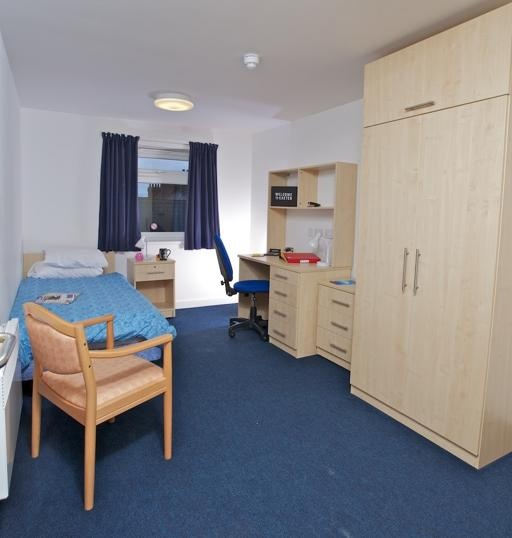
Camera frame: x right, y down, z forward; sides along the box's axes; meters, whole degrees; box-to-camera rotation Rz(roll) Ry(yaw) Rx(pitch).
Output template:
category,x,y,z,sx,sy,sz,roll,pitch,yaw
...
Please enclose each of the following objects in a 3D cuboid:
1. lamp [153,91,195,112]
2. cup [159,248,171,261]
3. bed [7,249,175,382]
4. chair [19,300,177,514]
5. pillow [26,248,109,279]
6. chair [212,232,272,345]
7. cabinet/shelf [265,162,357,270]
category,x,y,z,sx,sy,sz,roll,pitch,yaw
lamp,-0.779,-1.540,4.034,0.373,0.111,0.757,0,10,-10
cup,-1.088,-0.168,5.141,0.149,0.177,0.099,2,2,-32
bed,-1.344,0.278,3.512,0.789,0.343,1.275,-3,9,-35
chair,-0.813,0.577,2.256,0.641,0.970,0.672,-6,18,-35
pillow,-1.957,-0.054,4.532,0.476,0.176,0.428,-5,12,-28
chair,-0.135,0.182,4.852,0.793,1.432,0.768,-1,3,-1
cabinet/shelf,0.578,-0.525,4.329,0.243,1.021,1.016,-2,6,-23
